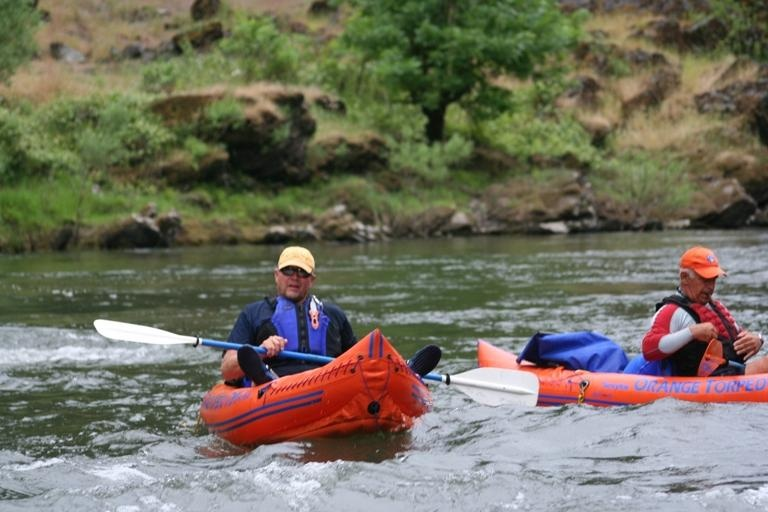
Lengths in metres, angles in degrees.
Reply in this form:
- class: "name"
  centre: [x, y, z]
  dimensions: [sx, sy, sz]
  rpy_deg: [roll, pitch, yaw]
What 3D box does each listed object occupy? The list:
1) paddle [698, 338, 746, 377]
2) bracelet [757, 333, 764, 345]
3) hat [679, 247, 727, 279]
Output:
- class: "paddle"
  centre: [6.519, 2.054, 31.230]
  dimensions: [0.754, 0.781, 0.389]
  rpy_deg: [9, 5, 14]
- class: "bracelet"
  centre: [7.492, 1.652, 32.130]
  dimensions: [0.184, 0.144, 0.240]
  rpy_deg: [9, 21, 3]
- class: "hat"
  centre: [6.179, 0.111, 31.286]
  dimensions: [0.686, 0.620, 0.528]
  rpy_deg: [0, 0, -31]
